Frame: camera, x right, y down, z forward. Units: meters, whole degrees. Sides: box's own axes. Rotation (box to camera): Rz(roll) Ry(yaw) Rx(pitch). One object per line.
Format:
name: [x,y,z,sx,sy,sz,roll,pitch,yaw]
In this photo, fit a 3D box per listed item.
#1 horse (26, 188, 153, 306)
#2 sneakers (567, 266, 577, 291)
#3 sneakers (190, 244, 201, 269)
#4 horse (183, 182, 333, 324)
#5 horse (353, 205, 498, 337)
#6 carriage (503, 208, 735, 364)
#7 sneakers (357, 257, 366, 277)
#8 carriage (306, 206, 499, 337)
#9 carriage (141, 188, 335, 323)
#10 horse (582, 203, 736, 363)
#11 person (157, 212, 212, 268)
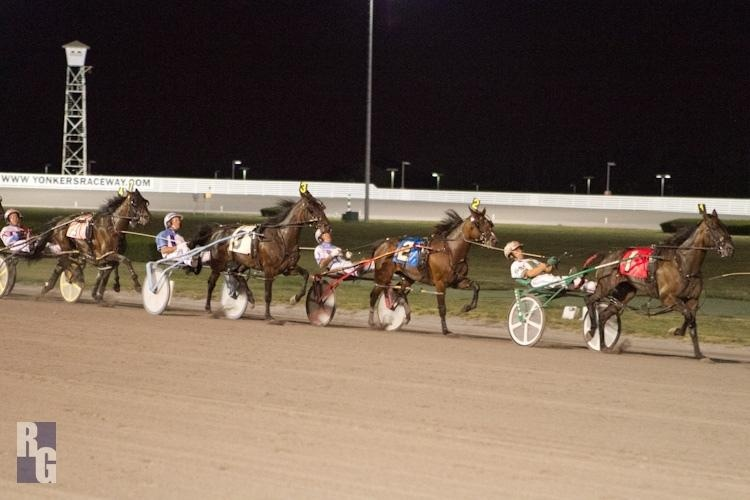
horse: [-4.756,-0.059,13.394,2.450,1.923,0.647,4,5,32]
sneakers: [2.834,0.410,11.394,0.141,0.286,0.172,9,5,3]
sneakers: [-2.802,0.159,12.388,0.148,0.482,0.273,-2,-11,-18]
horse: [-1.913,0.068,12.219,2.927,1.983,0.685,1,1,36]
horse: [0.795,0.289,11.387,2.435,1.840,0.649,-1,2,45]
carriage: [3.256,0.493,10.237,1.221,1.792,3.179,-2,-2,-32]
sneakers: [-0.182,0.258,11.705,0.092,0.188,0.232,0,-28,-21]
carriage: [0.392,0.346,11.440,2.994,1.696,0.702,-4,-2,25]
carriage: [-1.770,0.087,12.603,3.753,2.286,1.509,-2,-1,28]
horse: [3.586,0.435,10.079,0.589,1.835,2.444,-1,-3,-25]
person: [-3.144,-0.151,12.701,1.033,0.970,0.678,-2,1,19]
